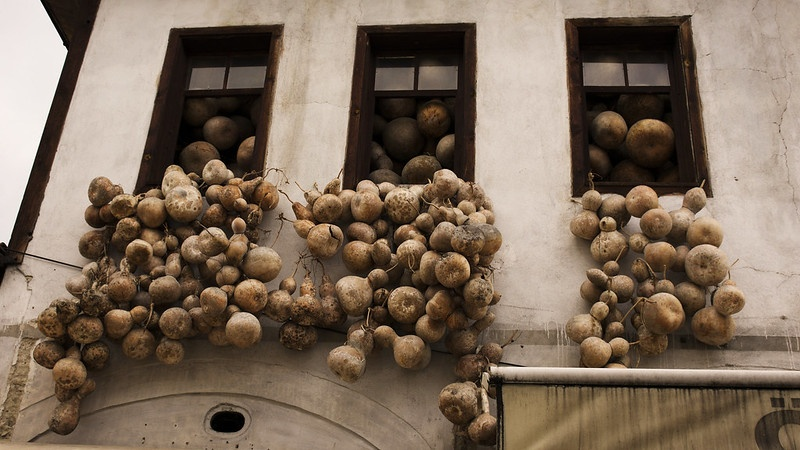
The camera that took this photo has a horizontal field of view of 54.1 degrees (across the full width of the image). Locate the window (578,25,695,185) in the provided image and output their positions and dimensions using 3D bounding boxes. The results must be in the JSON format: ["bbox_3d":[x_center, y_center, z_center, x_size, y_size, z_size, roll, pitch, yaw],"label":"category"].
[{"bbox_3d":[2.791,-1.467,9.408,1.533,2.307,0.180,-1,-20,3],"label":"window"}]

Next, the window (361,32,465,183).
[{"bbox_3d":[0.180,-1.239,9.430,1.295,2.401,0.188,0,-34,6],"label":"window"}]

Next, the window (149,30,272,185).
[{"bbox_3d":[-2.216,-1.364,9.630,1.473,2.645,0.316,5,-47,-9],"label":"window"}]

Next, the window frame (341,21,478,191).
[{"bbox_3d":[0.167,-1.581,9.445,1.481,2.240,0.180,-1,-34,4],"label":"window frame"}]

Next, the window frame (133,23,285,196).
[{"bbox_3d":[-2.223,-1.298,9.479,1.443,2.668,0.289,-1,-32,3],"label":"window frame"}]
